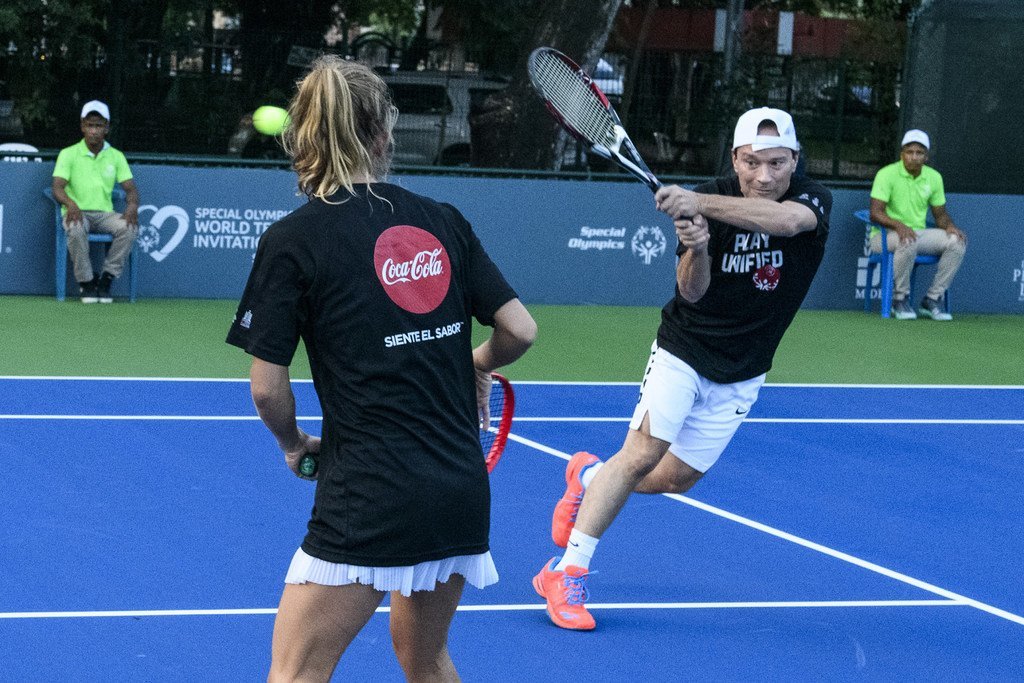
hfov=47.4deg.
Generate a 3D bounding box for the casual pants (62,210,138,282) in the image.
[{"bbox_3d":[-5.155,-1.169,14.794,0.814,1.132,0.821,3,-14,-24],"label":"casual pants"}]

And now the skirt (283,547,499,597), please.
[{"bbox_3d":[-0.572,1.148,5.654,1.018,0.246,0.180,1,10,-12],"label":"skirt"}]

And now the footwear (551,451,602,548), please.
[{"bbox_3d":[0.366,1.017,7.765,0.285,0.740,0.246,5,19,-31],"label":"footwear"}]

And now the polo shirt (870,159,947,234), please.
[{"bbox_3d":[5.240,-1.888,15.433,1.114,1.039,0.568,4,3,-7],"label":"polo shirt"}]

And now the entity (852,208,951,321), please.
[{"bbox_3d":[5.404,-1.174,16.110,1.245,1.999,1.656,-1,7,-9],"label":"entity"}]

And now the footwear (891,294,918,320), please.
[{"bbox_3d":[5.207,-0.421,15.466,0.156,0.254,0.506,-1,2,-7],"label":"footwear"}]

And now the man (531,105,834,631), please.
[{"bbox_3d":[1.145,0.128,7.294,1.751,3.167,0.719,-5,12,-36],"label":"man"}]

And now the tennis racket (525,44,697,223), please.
[{"bbox_3d":[0.516,-1.439,7.490,1.741,0.443,0.149,47,-15,19],"label":"tennis racket"}]

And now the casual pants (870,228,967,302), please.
[{"bbox_3d":[5.354,-1.025,15.425,1.048,0.967,0.616,1,10,-10],"label":"casual pants"}]

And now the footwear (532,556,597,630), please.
[{"bbox_3d":[0.337,1.558,7.094,0.202,0.356,0.361,-7,14,-44],"label":"footwear"}]

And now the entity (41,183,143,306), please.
[{"bbox_3d":[-5.511,-1.451,15.058,1.601,1.912,1.226,2,-5,-25],"label":"entity"}]

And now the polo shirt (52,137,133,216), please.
[{"bbox_3d":[-5.223,-2.058,14.548,0.905,0.851,0.358,-1,10,-22],"label":"polo shirt"}]

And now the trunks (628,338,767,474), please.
[{"bbox_3d":[1.248,0.458,7.689,0.646,0.711,0.387,34,-25,-12],"label":"trunks"}]

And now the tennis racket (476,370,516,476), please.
[{"bbox_3d":[-0.077,0.462,6.198,0.087,0.449,0.308,7,4,9],"label":"tennis racket"}]

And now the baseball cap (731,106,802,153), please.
[{"bbox_3d":[1.612,-1.370,7.387,0.242,0.224,0.357,3,19,16],"label":"baseball cap"}]
